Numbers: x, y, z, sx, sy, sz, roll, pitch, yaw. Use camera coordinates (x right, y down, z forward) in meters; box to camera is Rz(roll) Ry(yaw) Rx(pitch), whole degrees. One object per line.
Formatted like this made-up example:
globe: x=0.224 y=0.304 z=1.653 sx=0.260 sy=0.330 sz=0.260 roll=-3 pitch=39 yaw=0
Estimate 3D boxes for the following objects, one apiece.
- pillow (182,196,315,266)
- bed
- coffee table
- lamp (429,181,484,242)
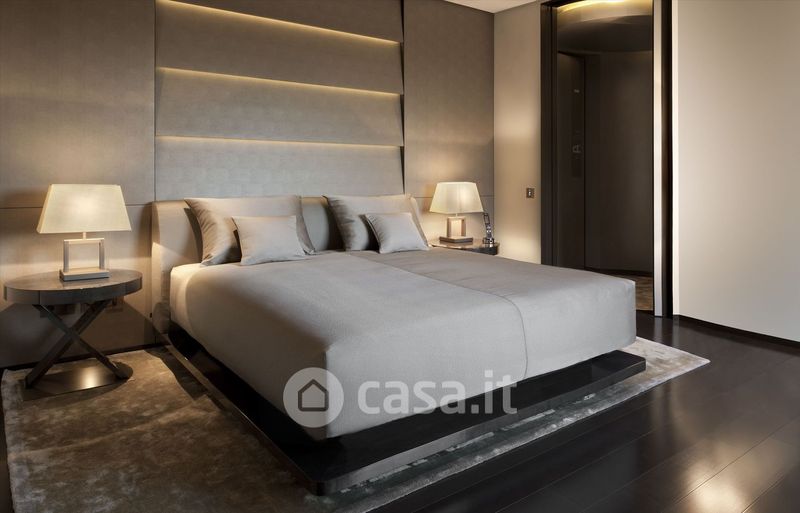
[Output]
pillow: x=-1.328 y=-0.264 z=4.765 sx=1.071 sy=0.586 sz=0.436 roll=-7 pitch=19 yaw=-30
bed: x=-0.587 y=0.482 z=3.971 sx=2.530 sy=1.062 sz=2.539 roll=-3 pitch=5 yaw=-34
coffee table: x=-2.543 y=0.476 z=4.306 sx=1.274 sy=1.092 sz=0.864 roll=-4 pitch=9 yaw=-42
lamp: x=0.625 y=-0.463 z=5.861 sx=0.496 sy=0.597 sz=0.453 roll=-1 pitch=0 yaw=-9
